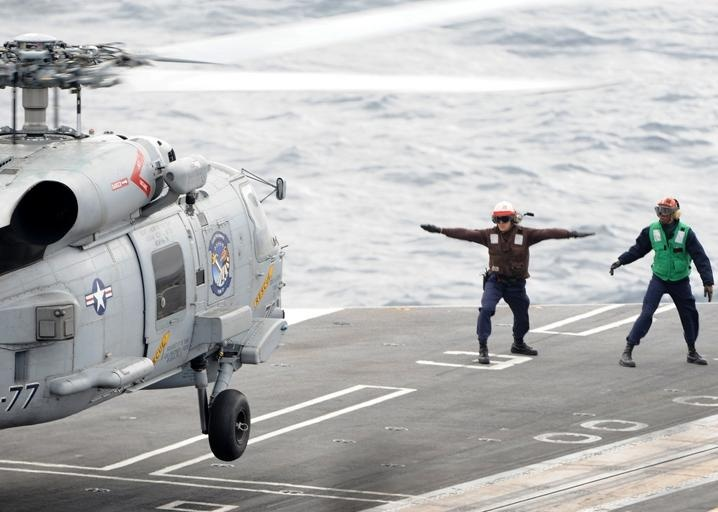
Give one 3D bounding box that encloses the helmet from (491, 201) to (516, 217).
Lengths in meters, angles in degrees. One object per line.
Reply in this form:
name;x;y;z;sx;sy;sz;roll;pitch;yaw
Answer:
helmet;2.624;-0.862;28.909;0.492;0.233;0.544;-1;-10;11
